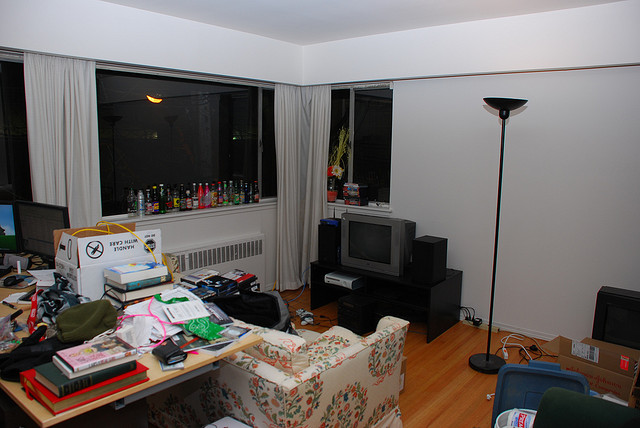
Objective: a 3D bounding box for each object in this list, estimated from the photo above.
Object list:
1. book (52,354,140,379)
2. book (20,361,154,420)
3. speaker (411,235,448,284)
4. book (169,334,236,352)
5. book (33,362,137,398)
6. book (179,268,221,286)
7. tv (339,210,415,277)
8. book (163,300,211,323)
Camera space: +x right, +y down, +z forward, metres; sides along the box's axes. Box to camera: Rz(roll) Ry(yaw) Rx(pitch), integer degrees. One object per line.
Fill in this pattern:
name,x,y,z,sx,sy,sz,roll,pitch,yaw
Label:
book,-1.341,0.928,2.670,0.209,0.029,0.215,3,5,45
book,-1.366,1.065,2.642,0.366,0.076,0.383,9,13,42
speaker,1.254,0.493,5.082,0.363,0.502,0.315,13,14,37
book,-0.816,0.868,3.049,0.416,0.070,0.159,-7,11,-18
book,-1.428,0.973,2.629,0.252,0.050,0.262,7,9,38
book,-1.240,0.637,4.491,0.200,0.048,0.212,11,18,26
tv,0.763,0.366,5.555,0.929,0.678,0.478,6,9,44
book,-0.967,0.705,3.178,0.207,0.032,0.147,-5,32,-31
